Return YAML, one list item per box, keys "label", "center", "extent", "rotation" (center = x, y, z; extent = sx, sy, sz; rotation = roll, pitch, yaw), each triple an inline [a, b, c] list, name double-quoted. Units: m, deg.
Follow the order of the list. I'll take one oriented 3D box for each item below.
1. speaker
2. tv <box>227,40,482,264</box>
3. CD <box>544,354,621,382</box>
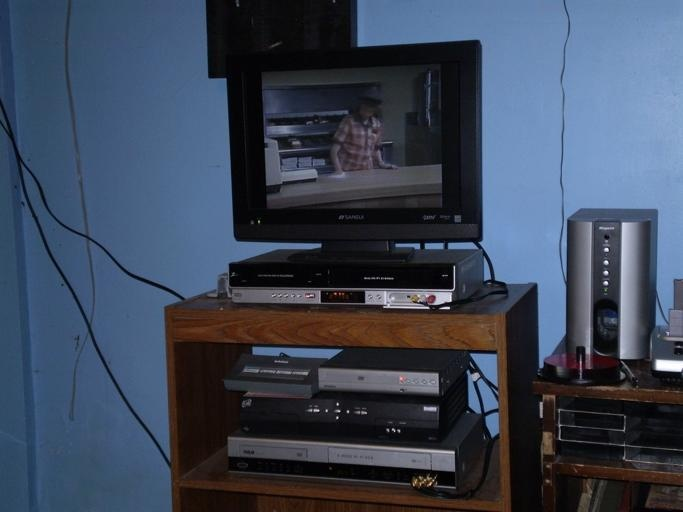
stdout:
- label: "speaker"
  center: [0.806, 0.061, 2.160]
  extent: [0.236, 0.416, 0.397]
  rotation: [2, 14, 27]
- label: "tv"
  center: [0.025, -0.329, 2.234]
  extent: [0.782, 0.621, 0.048]
  rotation: [2, 8, 14]
- label: "CD"
  center: [0.641, 0.299, 1.920]
  extent: [0.188, 0.059, 0.193]
  rotation: [-10, 8, -44]
